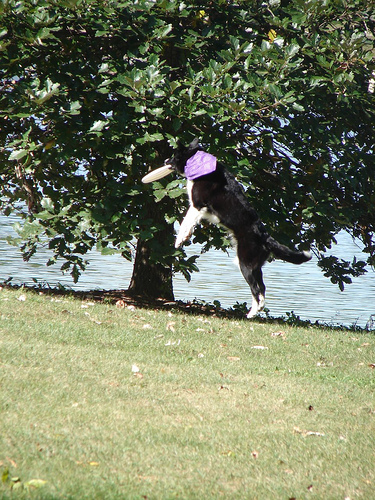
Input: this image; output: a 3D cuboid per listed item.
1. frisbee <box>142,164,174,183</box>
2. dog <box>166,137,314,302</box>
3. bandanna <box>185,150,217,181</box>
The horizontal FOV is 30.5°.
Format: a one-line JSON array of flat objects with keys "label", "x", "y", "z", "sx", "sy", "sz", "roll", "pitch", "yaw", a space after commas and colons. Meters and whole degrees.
[{"label": "frisbee", "x": -0.374, "y": -0.773, "z": 7.123, "sx": 0.488, "sy": 0.115, "sz": 0.117, "roll": -12, "pitch": 12, "yaw": 21}, {"label": "dog", "x": 0.368, "y": -0.313, "z": 6.570, "sx": 1.343, "sy": 1.462, "sz": 0.651, "roll": 11, "pitch": 8, "yaw": 18}, {"label": "bandanna", "x": 0.131, "y": -0.815, "z": 6.530, "sx": 0.305, "sy": 0.263, "sz": 0.073, "roll": 0, "pitch": -30, "yaw": 47}]
